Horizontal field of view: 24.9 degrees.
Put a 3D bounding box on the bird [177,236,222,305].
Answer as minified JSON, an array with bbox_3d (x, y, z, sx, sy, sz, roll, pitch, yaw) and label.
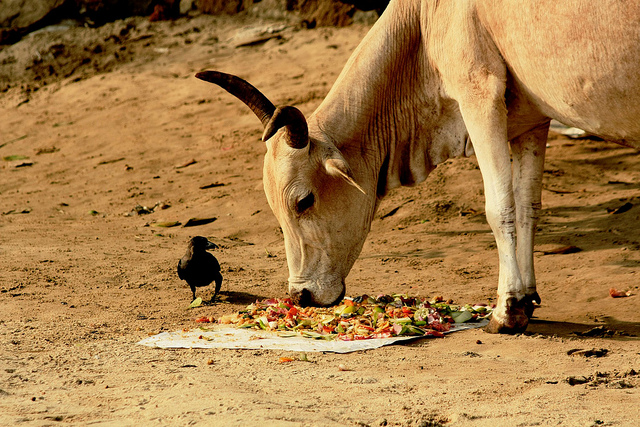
[{"bbox_3d":[-2.437,1.010,28.705,0.748,1.066,1.388,-10,-33,-12],"label":"bird"}]
